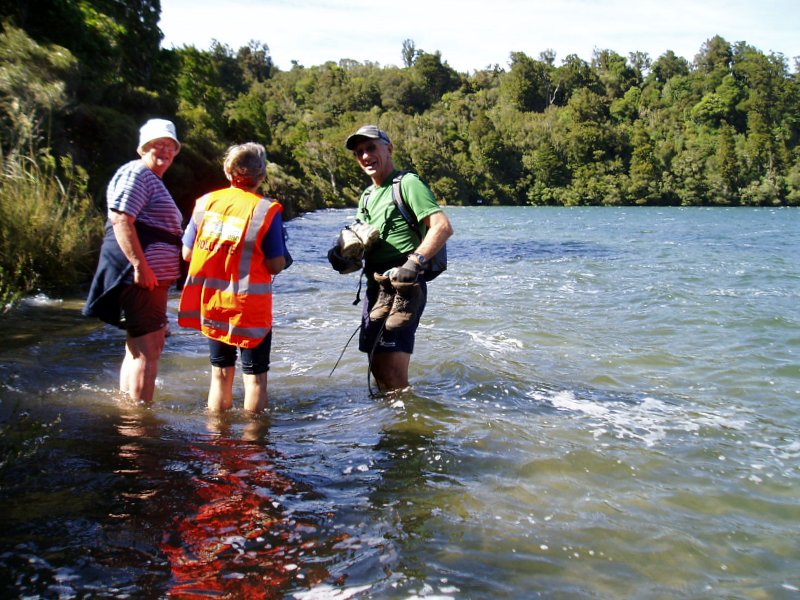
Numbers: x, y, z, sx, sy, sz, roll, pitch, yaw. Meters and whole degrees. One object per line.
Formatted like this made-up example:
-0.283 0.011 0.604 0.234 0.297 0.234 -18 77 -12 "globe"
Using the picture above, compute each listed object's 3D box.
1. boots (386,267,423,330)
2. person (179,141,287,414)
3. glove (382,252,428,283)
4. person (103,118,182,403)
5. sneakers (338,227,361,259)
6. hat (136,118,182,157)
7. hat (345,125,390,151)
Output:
0.036 0.013 6.119 0.290 0.331 0.816 8 27 14 "boots"
-1.442 -0.139 5.589 0.903 2.381 0.494 5 13 -3 "person"
0.048 -0.279 5.796 0.388 0.322 0.376 5 12 -1 "glove"
-2.305 -0.288 5.772 0.472 2.589 0.620 9 13 13 "person"
-0.494 -0.532 6.021 0.141 0.286 0.300 -6 16 -42 "sneakers"
-2.153 -1.457 5.754 0.319 0.298 0.384 1 13 -19 "hat"
-0.298 -1.525 6.085 0.421 0.258 0.305 5 12 -3 "hat"
